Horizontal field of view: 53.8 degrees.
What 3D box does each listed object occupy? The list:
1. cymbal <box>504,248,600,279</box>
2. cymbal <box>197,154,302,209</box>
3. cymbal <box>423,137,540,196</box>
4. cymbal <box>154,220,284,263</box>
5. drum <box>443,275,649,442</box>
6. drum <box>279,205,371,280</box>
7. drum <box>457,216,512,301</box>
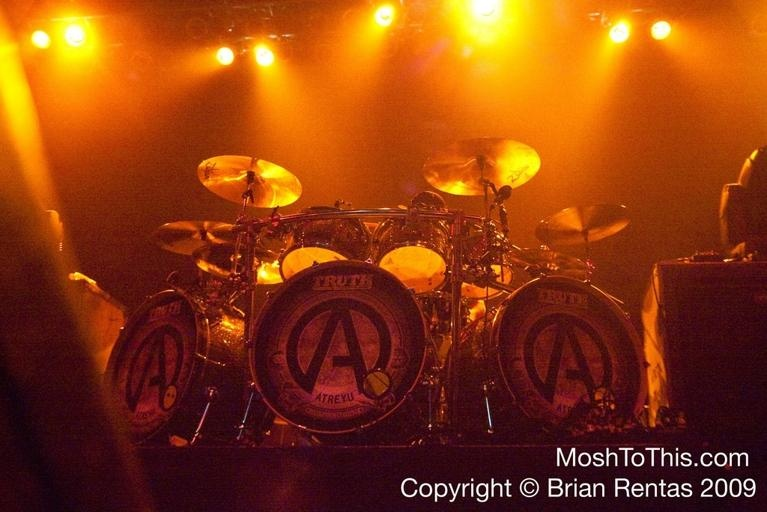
[{"bbox_3d":[1.373,0.062,6.225,0.437,0.104,0.422,19,-7,3],"label":"cymbal"},{"bbox_3d":[-1.148,-0.677,6.596,0.806,0.163,0.781,7,-11,-31],"label":"cymbal"},{"bbox_3d":[0.827,-0.777,6.454,0.691,0.653,0.148,-6,47,6],"label":"cymbal"},{"bbox_3d":[-1.626,-0.153,6.738,0.615,0.129,0.586,18,-34,-17],"label":"cymbal"},{"bbox_3d":[1.245,0.792,5.688,1.408,1.152,0.847,-3,12,14],"label":"drum"},{"bbox_3d":[-0.524,-0.103,6.331,0.715,0.666,0.445,4,49,9],"label":"drum"},{"bbox_3d":[0.846,0.048,6.236,0.578,0.608,0.622,-2,0,6],"label":"drum"}]
